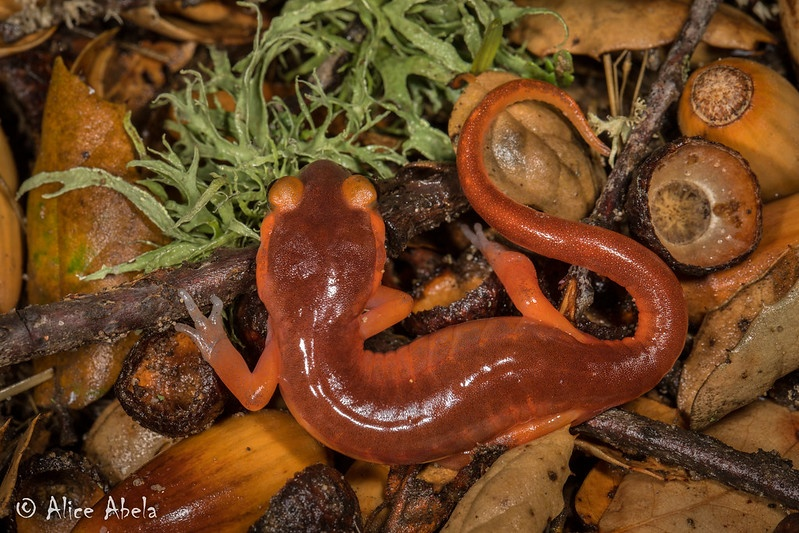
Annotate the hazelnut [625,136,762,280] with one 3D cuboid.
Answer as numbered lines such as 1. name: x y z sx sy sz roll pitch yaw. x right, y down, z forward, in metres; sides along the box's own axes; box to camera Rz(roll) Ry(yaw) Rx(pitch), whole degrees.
1. hazelnut: 1.503 -0.260 4.210 0.593 0.738 0.835 1 3 -17

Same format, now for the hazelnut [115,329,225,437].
1. hazelnut: -1.116 0.567 3.896 0.493 0.495 0.172 9 -2 -19

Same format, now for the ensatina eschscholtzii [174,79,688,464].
1. ensatina eschscholtzii: 0.258 0.059 4.894 1.939 2.519 2.112 -4 10 1
